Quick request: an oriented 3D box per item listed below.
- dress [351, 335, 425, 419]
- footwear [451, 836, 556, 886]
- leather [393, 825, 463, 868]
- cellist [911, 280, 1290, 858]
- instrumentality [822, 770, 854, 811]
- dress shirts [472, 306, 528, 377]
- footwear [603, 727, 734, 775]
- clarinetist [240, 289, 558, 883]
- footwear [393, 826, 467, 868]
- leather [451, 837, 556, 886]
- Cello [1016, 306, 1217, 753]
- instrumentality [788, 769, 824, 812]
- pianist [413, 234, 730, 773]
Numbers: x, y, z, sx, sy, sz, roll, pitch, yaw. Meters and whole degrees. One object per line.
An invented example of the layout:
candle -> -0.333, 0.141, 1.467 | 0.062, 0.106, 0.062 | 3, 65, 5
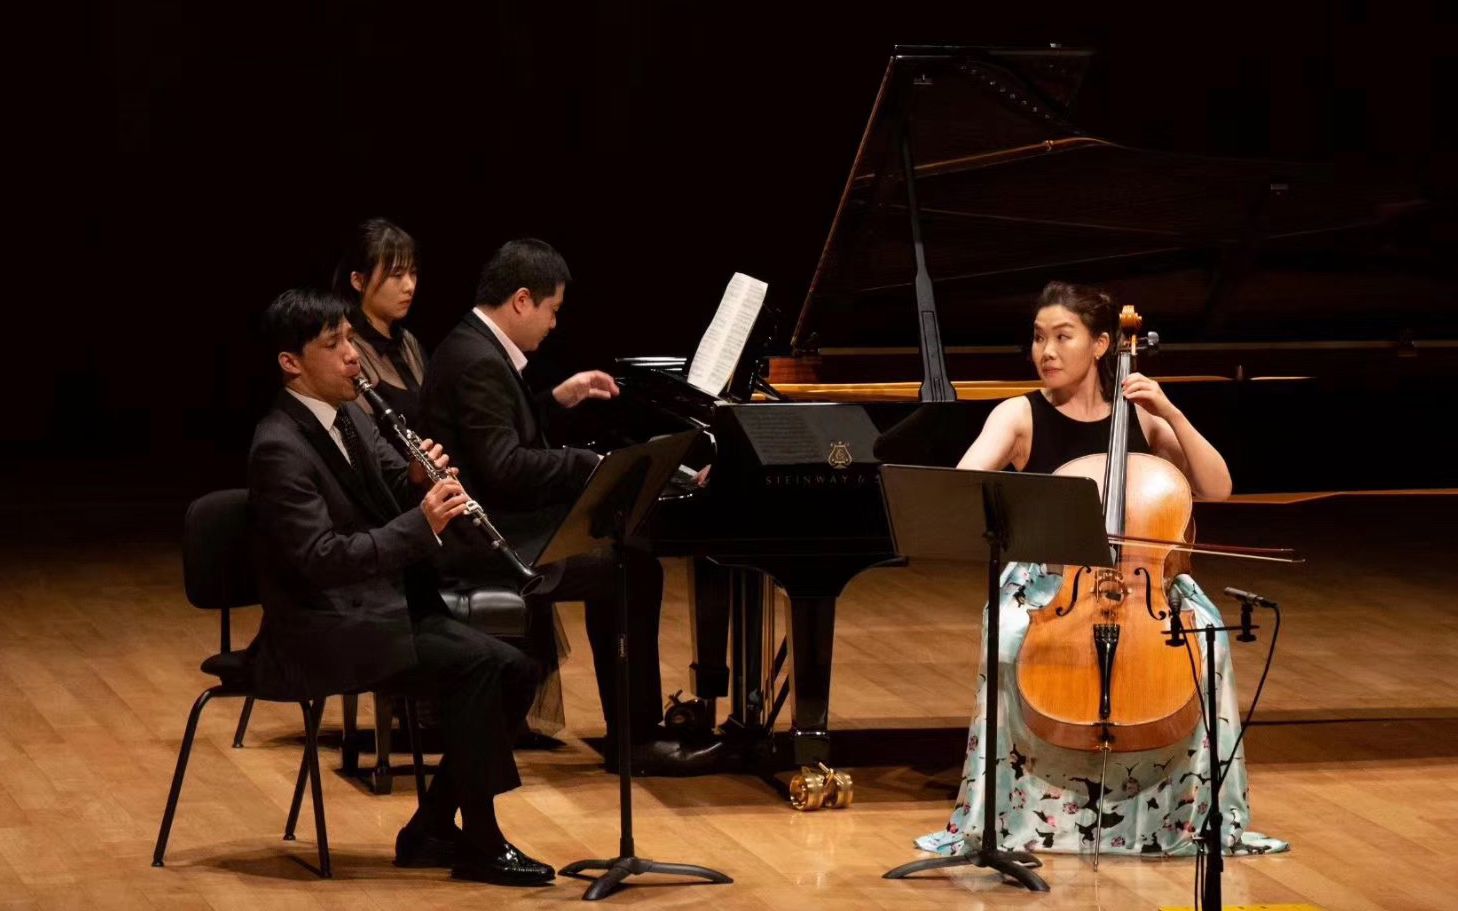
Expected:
dress -> -1.273, -0.262, 5.091 | 0.232, 0.378, 0.092 | -8, -30, -45
footwear -> -0.677, 1.221, 4.045 | 0.338, 0.120, 0.120 | 1, -6, 10
leather -> -0.920, 1.192, 4.093 | 0.237, 0.089, 0.102 | 0, 0, -6
cellist -> 1.201, 0.370, 4.351 | 1.247, 1.843, 1.312 | -1, 6, 25
instrumentality -> 0.359, 1.142, 4.564 | 0.079, 0.131, 0.138 | -3, 1, -23
dress shirts -> -0.829, -0.435, 4.871 | 0.152, 0.231, 0.184 | -35, -3, 25
footwear -> -0.212, 1.092, 4.897 | 0.409, 0.132, 0.237 | 3, -5, -12
clarinetist -> -0.997, 0.417, 4.190 | 1.041, 1.744, 0.790 | -1, 4, 5
footwear -> -0.919, 1.198, 4.117 | 0.237, 0.089, 0.102 | 0, 0, -6
leather -> -0.680, 1.222, 4.045 | 0.330, 0.117, 0.122 | 1, -7, 9
Cello -> 1.171, 0.344, 4.080 | 0.453, 1.040, 0.395 | 2, -13, 9
instrumentality -> 0.269, 1.139, 4.635 | 0.123, 0.163, 0.162 | 2, -4, -25
pianist -> -0.608, 0.203, 5.069 | 1.288, 1.905, 0.864 | 2, 5, -19
